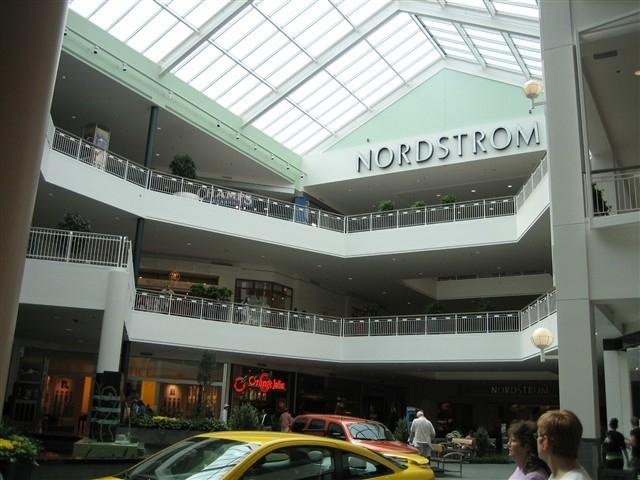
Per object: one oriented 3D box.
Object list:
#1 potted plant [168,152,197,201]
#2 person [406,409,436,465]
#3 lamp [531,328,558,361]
[{"bbox_3d":[-5.836,-2.682,22.783,1.044,2.052,1.761,2,-3,-18],"label":"potted plant"},{"bbox_3d":[2.730,5.180,14.187,0.542,1.336,0.446,-2,11,2],"label":"person"},{"bbox_3d":[6.648,3.126,16.024,0.675,0.941,0.677,-6,-24,28],"label":"lamp"}]
